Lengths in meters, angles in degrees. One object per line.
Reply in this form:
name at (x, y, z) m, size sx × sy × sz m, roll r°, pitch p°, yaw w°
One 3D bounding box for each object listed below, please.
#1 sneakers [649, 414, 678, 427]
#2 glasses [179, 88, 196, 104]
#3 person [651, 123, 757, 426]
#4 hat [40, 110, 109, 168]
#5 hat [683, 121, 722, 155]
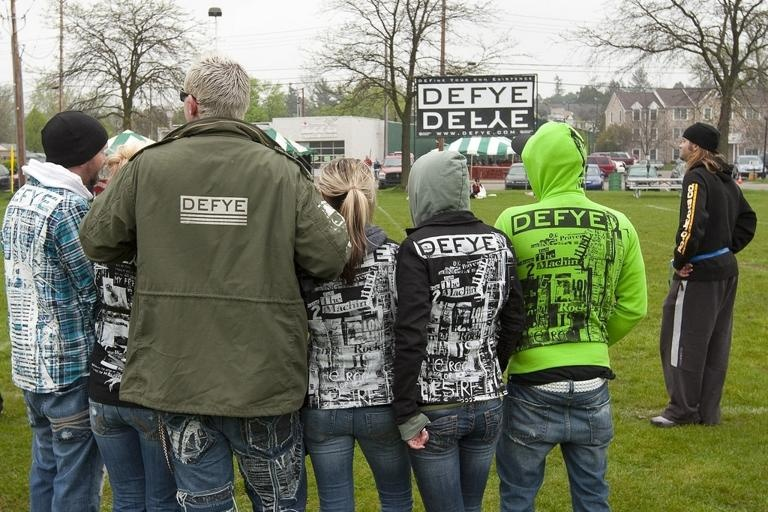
sneakers at (2.601, 1.522, 9.140) m, size 0.173 × 0.075 × 0.097 m, roll 4°, pitch 1°, yaw 24°
glasses at (-1.337, -1.089, 6.718) m, size 0.115 × 0.037 × 0.092 m, roll 18°, pitch -3°, yaw -41°
person at (2.929, 0.172, 9.046) m, size 0.851 × 2.754 × 0.549 m, roll -4°, pitch 5°, yaw -26°
hat at (-2.313, -0.867, 7.332) m, size 0.454 × 0.375 × 0.425 m, roll -5°, pitch 41°, yaw -23°
hat at (2.885, -1.058, 8.923) m, size 0.316 × 0.282 × 0.296 m, roll -1°, pitch 5°, yaw 12°
